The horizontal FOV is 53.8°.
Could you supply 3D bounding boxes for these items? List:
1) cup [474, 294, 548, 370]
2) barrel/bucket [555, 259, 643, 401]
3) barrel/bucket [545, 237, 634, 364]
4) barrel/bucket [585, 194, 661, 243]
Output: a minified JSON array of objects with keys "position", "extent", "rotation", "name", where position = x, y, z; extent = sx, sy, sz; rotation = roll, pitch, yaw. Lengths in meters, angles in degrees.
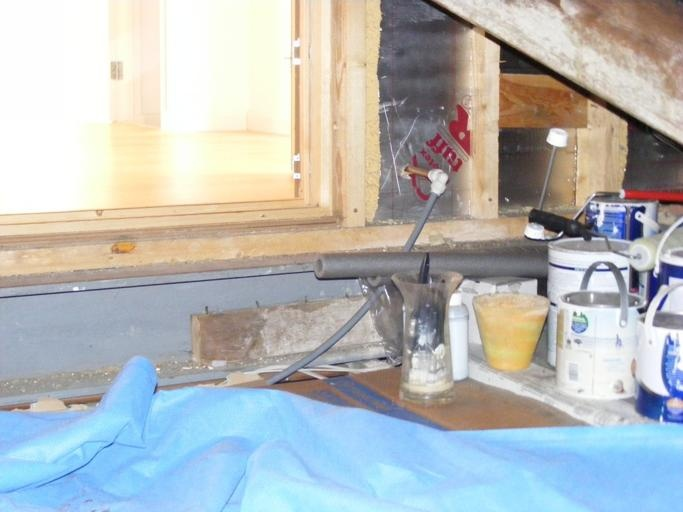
[{"position":[0.334,0.155,1.321],"extent":[0.140,0.133,0.148],"rotation":[0,8,0],"name":"cup"},{"position":[0.472,0.134,1.236],"extent":[0.136,0.237,0.096],"rotation":[3,14,19],"name":"barrel/bucket"},{"position":[0.486,0.127,1.266],"extent":[0.144,0.239,0.154],"rotation":[2,5,0],"name":"barrel/bucket"},{"position":[0.619,-0.084,1.479],"extent":[0.128,0.114,0.114],"rotation":[2,7,12],"name":"barrel/bucket"}]
